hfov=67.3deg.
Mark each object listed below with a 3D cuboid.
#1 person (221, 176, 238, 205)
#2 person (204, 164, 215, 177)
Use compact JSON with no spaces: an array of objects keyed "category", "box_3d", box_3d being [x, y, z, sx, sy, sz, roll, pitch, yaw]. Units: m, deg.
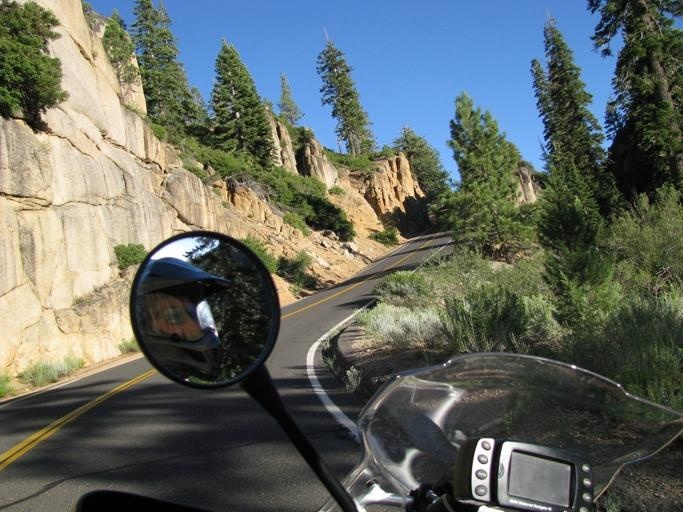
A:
[{"category":"person","box_3d":[-8.427,-5.004,39.588,1.008,2.114,1.077,-7,2,-12]},{"category":"person","box_3d":[-9.953,-6.393,39.105,0.971,0.992,0.265,20,-31,-28]}]
